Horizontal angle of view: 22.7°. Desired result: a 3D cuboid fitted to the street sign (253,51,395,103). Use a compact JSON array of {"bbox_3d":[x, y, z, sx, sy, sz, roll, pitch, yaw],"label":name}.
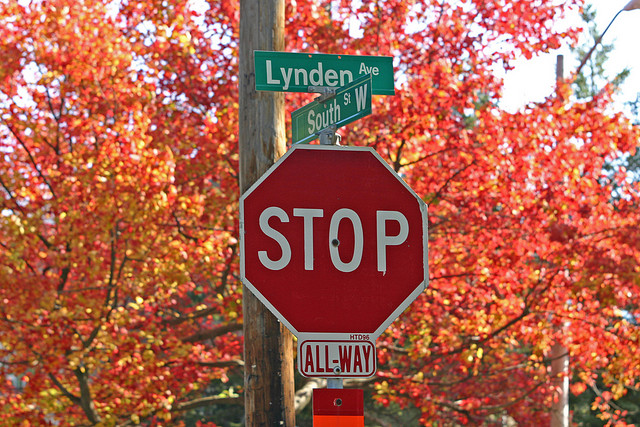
[{"bbox_3d":[0.019,-2.325,27.723,2.500,0.868,0.471,2,-23,-10],"label":"street sign"}]
